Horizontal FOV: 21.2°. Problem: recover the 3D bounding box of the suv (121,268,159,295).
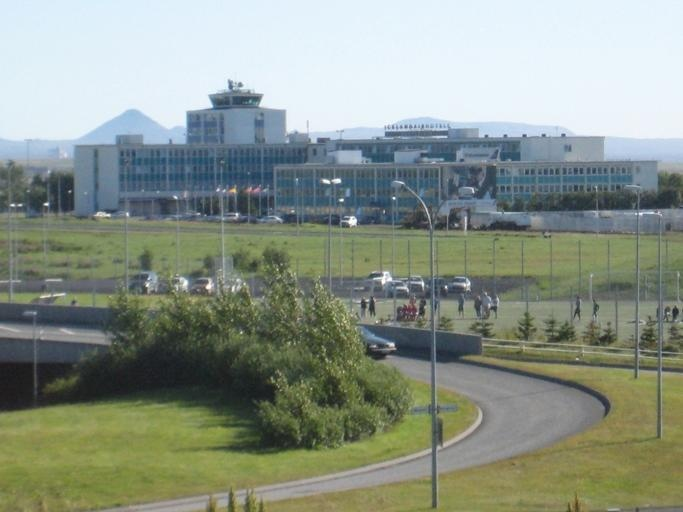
[{"bbox_3d":[-18.930,2.512,174.344,1.958,2.022,3.435,2,11,-4],"label":"suv"}]
